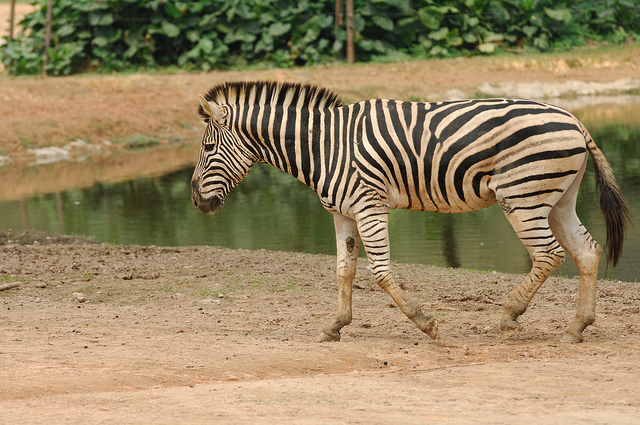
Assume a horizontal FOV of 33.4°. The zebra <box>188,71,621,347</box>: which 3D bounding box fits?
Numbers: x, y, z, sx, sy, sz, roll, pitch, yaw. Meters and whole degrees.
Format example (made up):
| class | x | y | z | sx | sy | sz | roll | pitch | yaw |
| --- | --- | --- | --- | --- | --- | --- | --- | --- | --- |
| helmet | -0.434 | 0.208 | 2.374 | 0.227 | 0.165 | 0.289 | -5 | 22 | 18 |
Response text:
| class | x | y | z | sx | sy | sz | roll | pitch | yaw |
| --- | --- | --- | --- | --- | --- | --- | --- | --- | --- |
| zebra | 1.337 | -0.074 | 15.046 | 5.546 | 3.727 | 1.400 | -1 | 13 | 13 |
